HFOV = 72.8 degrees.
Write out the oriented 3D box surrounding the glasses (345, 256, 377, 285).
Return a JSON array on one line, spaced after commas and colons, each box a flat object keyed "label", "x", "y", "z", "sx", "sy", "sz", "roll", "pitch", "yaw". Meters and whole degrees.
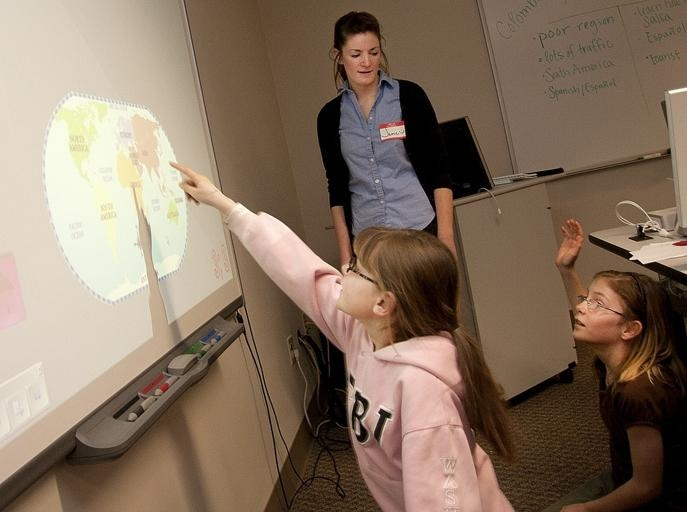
[{"label": "glasses", "x": 0.042, "y": 0.037, "z": 1.139, "sx": 0.063, "sy": 0.019, "sz": 0.064, "roll": 27, "pitch": 2, "yaw": -13}]
